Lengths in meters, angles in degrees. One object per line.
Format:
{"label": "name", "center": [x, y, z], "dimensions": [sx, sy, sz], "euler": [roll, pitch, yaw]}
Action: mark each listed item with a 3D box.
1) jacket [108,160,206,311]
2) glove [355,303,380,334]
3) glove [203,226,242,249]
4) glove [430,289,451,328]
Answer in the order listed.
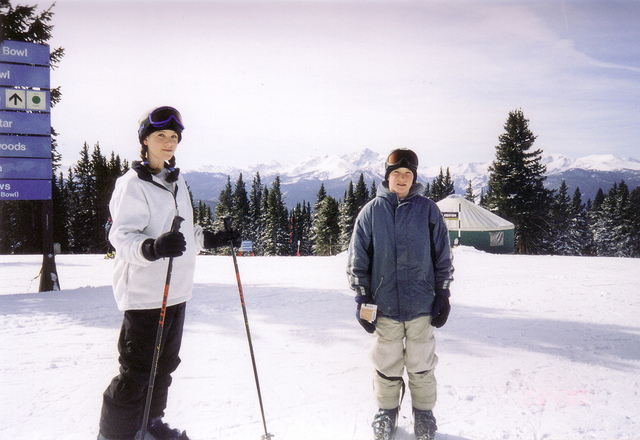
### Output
{"label": "jacket", "center": [-2.599, 0.251, 8.518], "dimensions": [1.435, 2.408, 1.892], "euler": [2, 3, 17]}
{"label": "glove", "center": [0.770, 1.585, 8.522], "dimensions": [0.099, 0.444, 0.420], "euler": [-5, -2, -45]}
{"label": "glove", "center": [-1.598, 0.282, 8.641], "dimensions": [0.535, 0.248, 0.324], "euler": [1, 5, 1]}
{"label": "glove", "center": [1.943, 1.433, 8.509], "dimensions": [0.277, 0.601, 0.247], "euler": [1, 9, 13]}
